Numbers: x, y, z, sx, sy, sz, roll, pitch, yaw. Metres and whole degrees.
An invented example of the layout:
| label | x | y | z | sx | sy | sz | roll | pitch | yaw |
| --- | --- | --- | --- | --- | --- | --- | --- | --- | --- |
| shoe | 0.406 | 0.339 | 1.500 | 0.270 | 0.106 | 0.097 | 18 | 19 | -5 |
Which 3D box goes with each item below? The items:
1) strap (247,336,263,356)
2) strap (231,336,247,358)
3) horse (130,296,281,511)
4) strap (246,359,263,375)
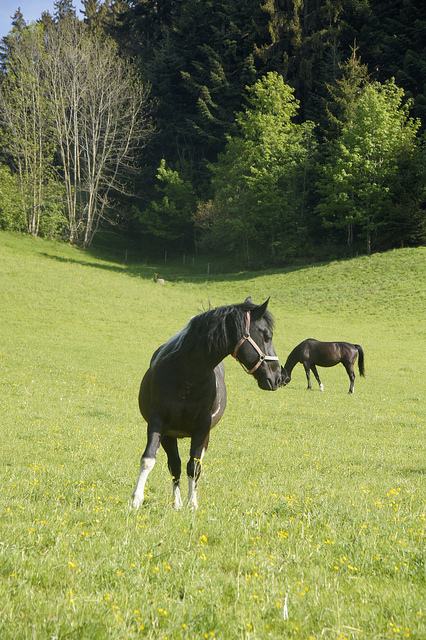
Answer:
| label | x | y | z | sx | sy | sz | roll | pitch | yaw |
| --- | --- | --- | --- | --- | --- | --- | --- | --- | --- |
| strap | 0.467 | 0.287 | 7.503 | 0.063 | 0.298 | 0.083 | -32 | -1 | 40 |
| strap | 0.289 | 0.289 | 7.502 | 0.048 | 0.207 | 0.189 | 22 | 5 | 2 |
| horse | -0.232 | 0.953 | 7.824 | 1.752 | 2.503 | 1.610 | 4 | 4 | -26 |
| strap | 0.474 | 0.516 | 7.584 | 0.149 | 0.039 | 0.159 | -40 | -7 | 7 |
